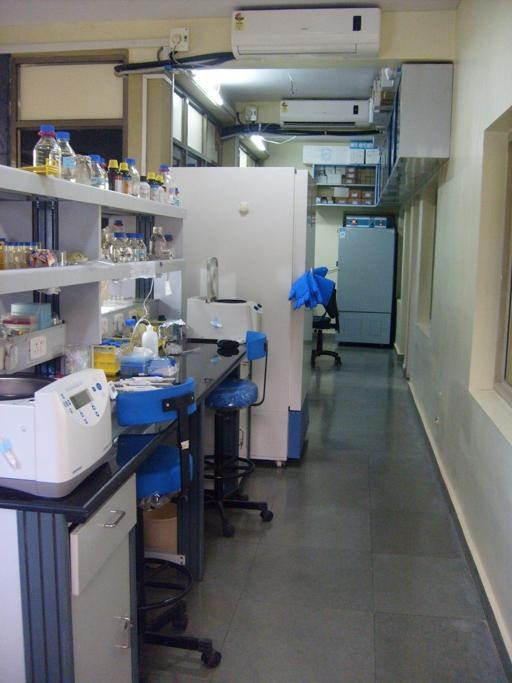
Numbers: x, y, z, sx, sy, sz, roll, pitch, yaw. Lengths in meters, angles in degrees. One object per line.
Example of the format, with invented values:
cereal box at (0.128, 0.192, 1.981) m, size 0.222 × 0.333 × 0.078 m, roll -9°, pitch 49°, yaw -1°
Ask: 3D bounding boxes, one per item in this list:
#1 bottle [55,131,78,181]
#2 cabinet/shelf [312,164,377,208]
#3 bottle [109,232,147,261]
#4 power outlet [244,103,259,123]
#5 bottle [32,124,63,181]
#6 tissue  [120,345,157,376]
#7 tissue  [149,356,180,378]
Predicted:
bottle at (-0.649, -0.631, 1.989) m, size 0.093 × 0.150 × 0.095 m, roll 3°, pitch 19°, yaw -1°
cabinet/shelf at (1.353, -2.362, 8.894) m, size 0.942 × 0.552 × 0.777 m, roll 4°, pitch 8°, yaw 14°
bottle at (-0.586, -0.440, 2.754) m, size 0.182 × 0.122 × 0.189 m, roll 0°, pitch 12°, yaw 0°
power outlet at (-0.056, -2.841, 7.297) m, size 0.157 × 0.239 × 0.181 m, roll 6°, pitch 24°, yaw 5°
bottle at (-0.659, -0.605, 1.864) m, size 0.082 × 0.160 × 0.088 m, roll 0°, pitch 9°, yaw 0°
tissue  at (-0.524, 0.080, 2.583) m, size 0.110 × 0.117 × 0.112 m, roll 3°, pitch 10°, yaw 10°
tissue  at (-0.411, 0.102, 2.577) m, size 0.075 × 0.069 × 0.104 m, roll 1°, pitch 6°, yaw 2°
